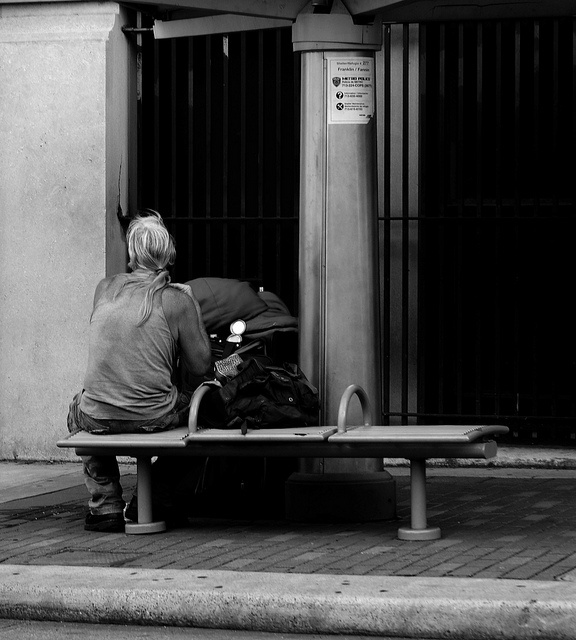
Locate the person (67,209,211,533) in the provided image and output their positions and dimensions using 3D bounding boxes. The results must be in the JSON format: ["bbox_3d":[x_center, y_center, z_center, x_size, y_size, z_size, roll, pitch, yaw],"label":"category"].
[{"bbox_3d":[-0.827,0.286,5.322,0.736,1.640,0.801,3,3,13],"label":"person"}]
